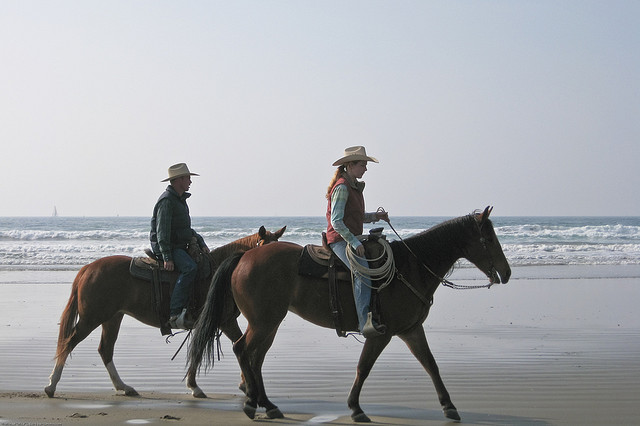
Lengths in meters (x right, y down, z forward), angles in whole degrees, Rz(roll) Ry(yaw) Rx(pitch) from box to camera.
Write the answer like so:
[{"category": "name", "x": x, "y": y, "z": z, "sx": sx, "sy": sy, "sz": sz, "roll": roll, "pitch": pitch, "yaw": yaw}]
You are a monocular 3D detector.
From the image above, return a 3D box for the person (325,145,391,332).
[{"category": "person", "x": 0.573, "y": 0.506, "z": 18.159, "sx": 0.981, "sy": 3.567, "sz": 1.134, "roll": 0, "pitch": 9, "yaw": 0}]
